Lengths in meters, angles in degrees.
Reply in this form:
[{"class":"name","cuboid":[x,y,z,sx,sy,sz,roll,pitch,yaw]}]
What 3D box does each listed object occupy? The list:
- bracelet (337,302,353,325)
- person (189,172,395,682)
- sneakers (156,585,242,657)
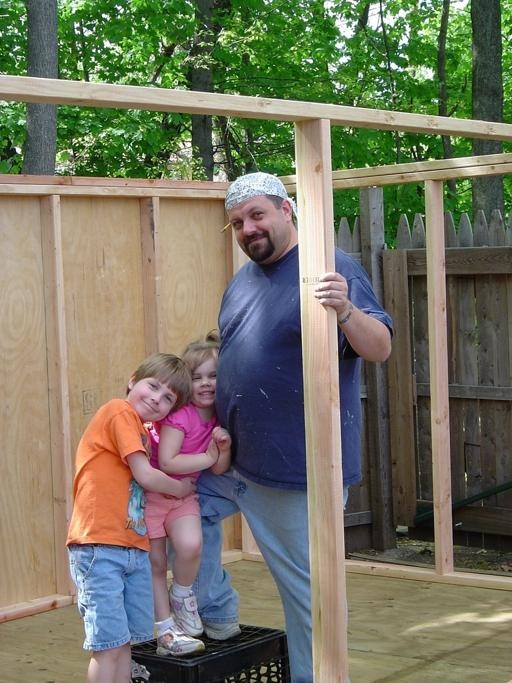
[{"class":"bracelet","cuboid":[0.237,-0.073,2.382,0.016,0.048,0.052,22,-20,3]},{"class":"person","cuboid":[0.122,0.310,2.802,0.453,1.646,1.015,0,1,-18]},{"class":"sneakers","cuboid":[-0.200,0.913,2.883,0.098,0.138,0.288,1,-5,-32]}]
